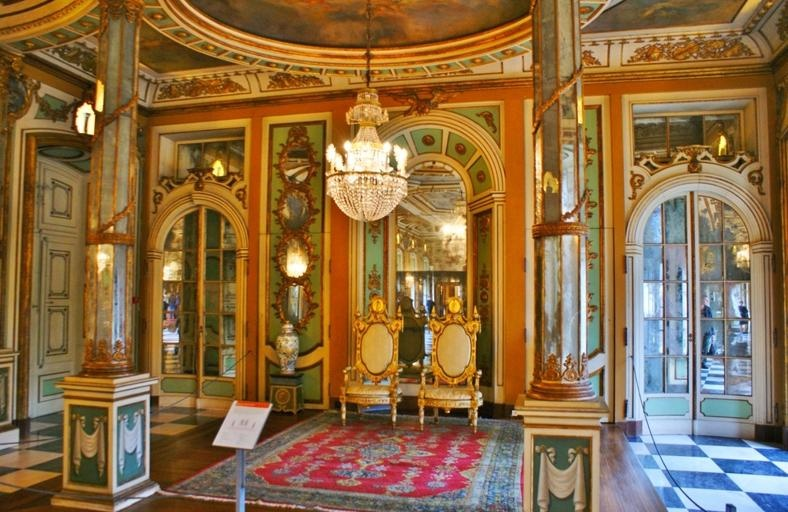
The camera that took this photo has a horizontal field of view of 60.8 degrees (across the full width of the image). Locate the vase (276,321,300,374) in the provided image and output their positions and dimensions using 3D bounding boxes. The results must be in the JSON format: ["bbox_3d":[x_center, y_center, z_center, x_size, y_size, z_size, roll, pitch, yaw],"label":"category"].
[{"bbox_3d":[-1.676,1.474,10.770,0.395,0.841,0.241,4,-8,-41],"label":"vase"}]

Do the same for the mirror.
[{"bbox_3d":[0.548,0.548,12.356,0.071,3.255,1.227,17,-14,-20],"label":"mirror"}]

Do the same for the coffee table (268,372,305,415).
[{"bbox_3d":[-1.740,2.109,10.855,0.442,0.701,0.625,4,16,2],"label":"coffee table"}]

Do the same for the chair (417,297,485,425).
[{"bbox_3d":[0.814,1.542,9.679,1.059,1.713,1.005,1,-3,-8],"label":"chair"}]

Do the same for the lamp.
[{"bbox_3d":[-0.424,-1.894,9.562,1.067,2.840,1.618,-1,-6,-4],"label":"lamp"}]

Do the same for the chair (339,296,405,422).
[{"bbox_3d":[-0.357,1.566,10.308,0.922,1.898,1.030,-1,-6,-1],"label":"chair"}]
